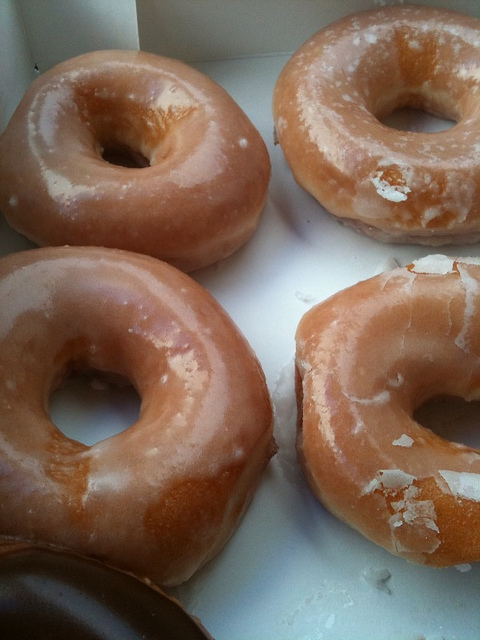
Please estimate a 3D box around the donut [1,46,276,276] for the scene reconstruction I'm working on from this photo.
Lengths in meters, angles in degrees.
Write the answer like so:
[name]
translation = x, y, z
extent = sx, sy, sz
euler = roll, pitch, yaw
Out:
[donut]
translation = -0.160, -0.207, 1.125
extent = 0.409, 0.139, 0.382
euler = 8, 58, -4
